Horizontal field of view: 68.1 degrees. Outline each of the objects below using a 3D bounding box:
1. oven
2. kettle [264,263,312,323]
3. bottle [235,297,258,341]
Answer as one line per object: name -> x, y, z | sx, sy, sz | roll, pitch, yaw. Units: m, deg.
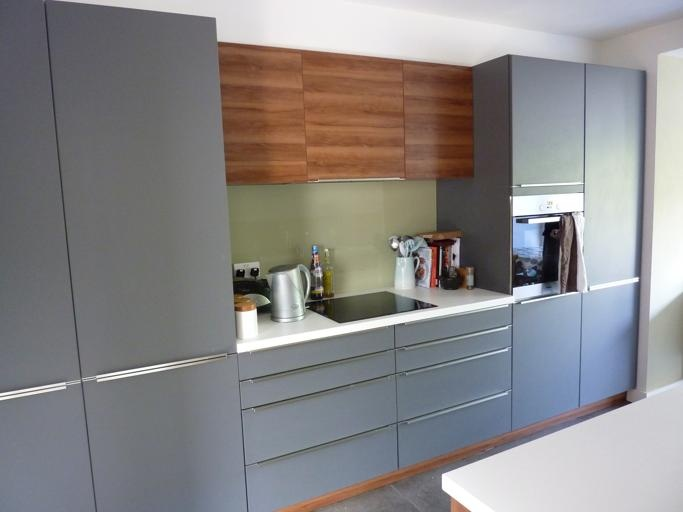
oven -> 1.336, -0.101, 3.654 | 0.671, 0.677, 0.708 | -5, 6, -26
kettle -> -0.309, 0.217, 2.986 | 0.203, 0.362, 0.213 | 3, 12, -36
bottle -> -0.517, 0.336, 2.721 | 0.110, 0.207, 0.208 | -1, 7, -12
